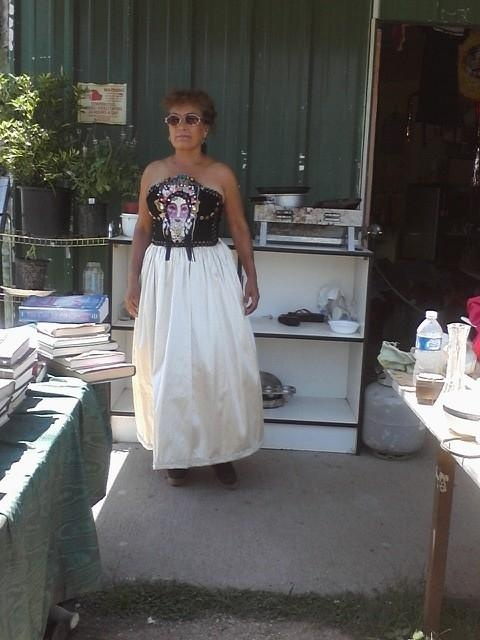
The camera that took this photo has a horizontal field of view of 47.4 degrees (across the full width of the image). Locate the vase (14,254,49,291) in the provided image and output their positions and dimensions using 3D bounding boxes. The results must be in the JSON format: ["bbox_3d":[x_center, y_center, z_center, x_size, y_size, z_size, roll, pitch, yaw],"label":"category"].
[{"bbox_3d":[-1.057,-0.233,2.718,0.152,0.185,0.168,3,-1,13],"label":"vase"}]

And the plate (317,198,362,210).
[{"bbox_3d":[0.506,-0.594,2.816,0.131,0.039,0.103,9,9,17],"label":"plate"}]

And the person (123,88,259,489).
[{"bbox_3d":[-0.191,-0.165,2.382,0.623,1.563,0.405,1,7,-5],"label":"person"}]

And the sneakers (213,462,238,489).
[{"bbox_3d":[-0.067,0.712,2.514,0.056,0.169,0.064,-11,-16,-7],"label":"sneakers"}]

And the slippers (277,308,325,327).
[{"bbox_3d":[0.346,-0.015,3.114,0.269,0.078,0.163,-4,10,-35],"label":"slippers"}]

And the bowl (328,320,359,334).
[{"bbox_3d":[0.549,0.036,2.915,0.156,0.068,0.124,4,8,16],"label":"bowl"}]
